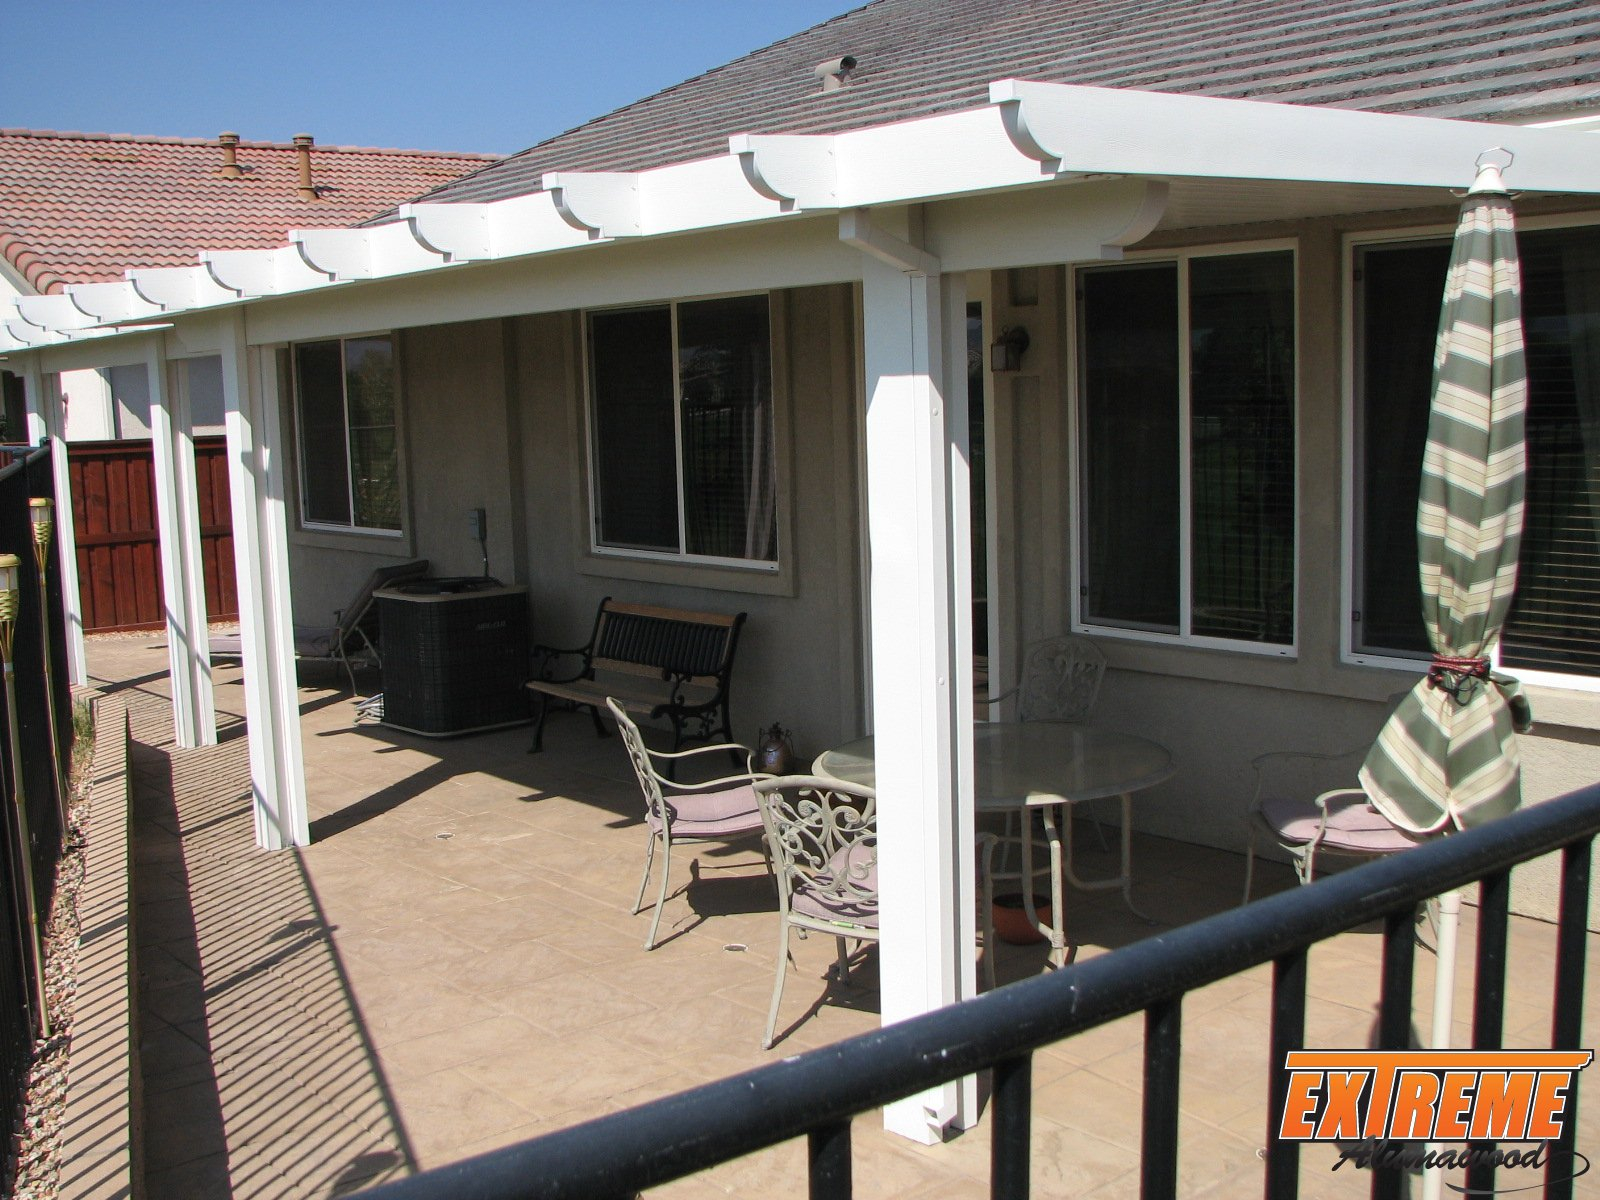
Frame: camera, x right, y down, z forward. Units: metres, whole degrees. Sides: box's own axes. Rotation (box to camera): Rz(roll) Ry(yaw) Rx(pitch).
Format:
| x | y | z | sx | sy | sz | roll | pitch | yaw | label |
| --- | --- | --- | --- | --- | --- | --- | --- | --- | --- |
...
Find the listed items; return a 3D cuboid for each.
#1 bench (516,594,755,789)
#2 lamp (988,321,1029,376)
| x | y | z | sx | sy | sz | roll | pitch | yaw | label |
| --- | --- | --- | --- | --- | --- | --- | --- | --- | --- |
| -1.307 | 0.665 | 9.850 | 0.836 | 1.126 | 1.865 | -8 | 9 | -40 | bench |
| 1.256 | -1.489 | 7.721 | 0.233 | 0.255 | 0.075 | -7 | 11 | -23 | lamp |
